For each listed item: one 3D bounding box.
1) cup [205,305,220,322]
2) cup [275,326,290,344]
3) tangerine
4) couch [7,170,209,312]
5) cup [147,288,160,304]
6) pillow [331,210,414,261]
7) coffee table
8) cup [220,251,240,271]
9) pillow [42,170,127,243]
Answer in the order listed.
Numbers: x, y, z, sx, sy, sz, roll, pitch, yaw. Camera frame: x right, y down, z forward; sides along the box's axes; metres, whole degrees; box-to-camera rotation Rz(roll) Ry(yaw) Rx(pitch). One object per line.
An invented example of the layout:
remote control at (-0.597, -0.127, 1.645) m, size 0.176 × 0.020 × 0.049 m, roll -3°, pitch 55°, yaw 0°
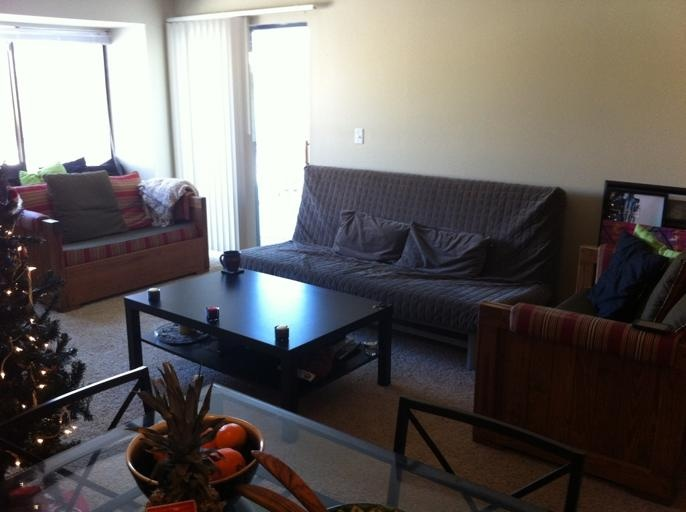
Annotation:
cup at (-0.711, 0.322, 2.999) m, size 0.073 × 0.078 × 0.078 m, roll 1°, pitch 14°, yaw 0°
cup at (-0.309, 0.401, 2.756) m, size 0.075 × 0.064 × 0.071 m, roll 0°, pitch 13°, yaw 0°
tangerine at (-0.361, 0.538, 1.491) m, size 0.175 × 0.162 × 0.067 m, roll 12°, pitch 50°, yaw -27°
couch at (-2.054, -0.184, 4.731) m, size 0.796 × 0.936 × 1.446 m, roll 10°, pitch 18°, yaw 31°
cup at (-1.133, 0.238, 3.267) m, size 0.081 × 0.084 × 0.088 m, roll 2°, pitch 13°, yaw 0°
pillow at (0.190, -0.142, 4.281) m, size 0.627 × 0.352 × 0.189 m, roll 16°, pitch 0°, yaw 27°
coffee table at (-0.376, 0.315, 3.114) m, size 1.196 × 0.388 × 0.737 m, roll 10°, pitch 19°, yaw 37°
cup at (-0.779, 0.032, 3.790) m, size 0.159 × 0.127 × 0.127 m, roll -4°, pitch 20°, yaw -13°
pillow at (-2.178, -0.419, 4.596) m, size 0.196 × 0.584 × 0.669 m, roll -15°, pitch -3°, yaw 42°
